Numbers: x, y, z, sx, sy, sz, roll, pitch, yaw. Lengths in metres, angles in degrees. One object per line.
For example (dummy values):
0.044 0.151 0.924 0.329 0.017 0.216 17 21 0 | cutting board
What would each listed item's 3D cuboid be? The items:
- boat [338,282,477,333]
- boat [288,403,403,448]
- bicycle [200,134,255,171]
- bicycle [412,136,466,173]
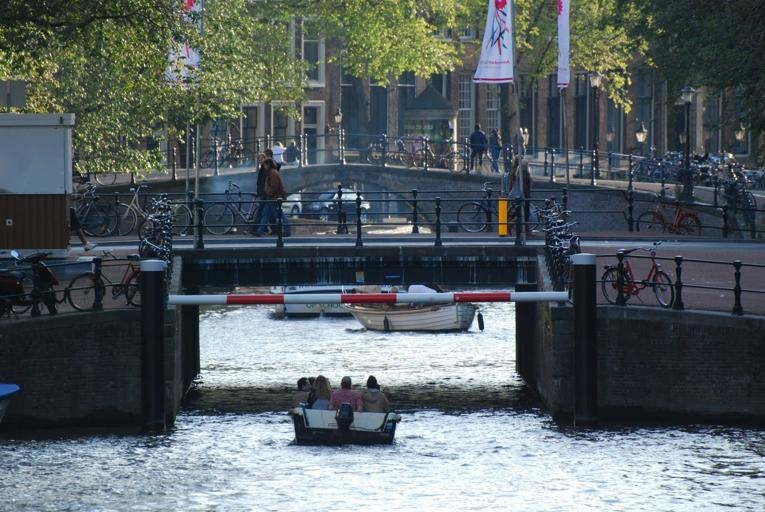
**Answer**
1.127 1.706 71.667 6.968 2.323 3.151 0 -2 -5 | boat
-1.048 4.549 51.658 2.675 1.133 0.402 0 7 2 | boat
-6.166 -3.991 77.082 2.429 1.407 1.263 -3 5 -6 | bicycle
2.102 -3.874 76.421 0.950 1.211 3.934 -3 7 -20 | bicycle
